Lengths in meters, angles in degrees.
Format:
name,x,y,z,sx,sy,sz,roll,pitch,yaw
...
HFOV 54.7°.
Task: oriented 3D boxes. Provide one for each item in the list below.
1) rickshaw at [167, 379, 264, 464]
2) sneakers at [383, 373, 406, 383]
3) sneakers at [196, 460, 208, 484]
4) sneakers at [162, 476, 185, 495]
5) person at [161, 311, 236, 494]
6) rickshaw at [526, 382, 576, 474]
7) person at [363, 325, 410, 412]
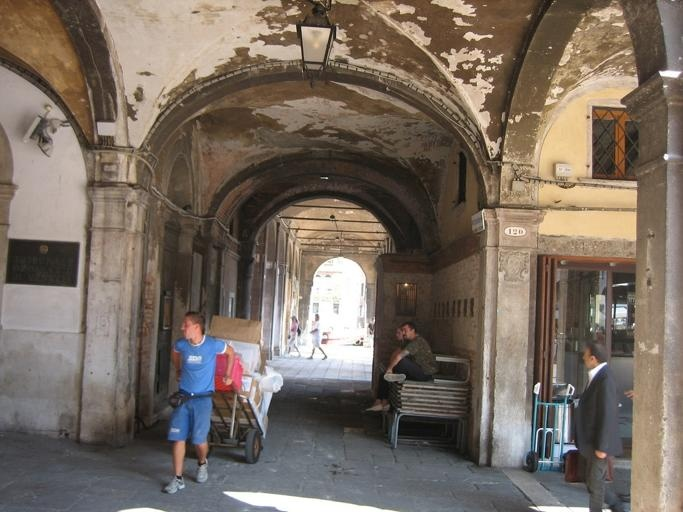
name,x,y,z,sx,sy,sz,roll,pitch,yaw
rickshaw,-1.496,2.193,8.539,0.926,0.924,1.406,-9,-13,6
sneakers,0.765,1.729,9.455,0.312,0.162,0.053,3,4,6
sneakers,-1.559,2.392,7.364,0.092,0.249,0.104,-1,-11,1
sneakers,-1.792,2.426,7.039,0.109,0.116,0.255,-3,-8,23
person,-1.521,1.531,7.139,0.621,1.805,0.704,1,-3,-7
rickshaw,2.740,2.259,8.877,0.689,1.102,0.756,3,-6,-6
person,0.986,1.534,10.094,0.895,1.044,0.615,17,-15,-23
